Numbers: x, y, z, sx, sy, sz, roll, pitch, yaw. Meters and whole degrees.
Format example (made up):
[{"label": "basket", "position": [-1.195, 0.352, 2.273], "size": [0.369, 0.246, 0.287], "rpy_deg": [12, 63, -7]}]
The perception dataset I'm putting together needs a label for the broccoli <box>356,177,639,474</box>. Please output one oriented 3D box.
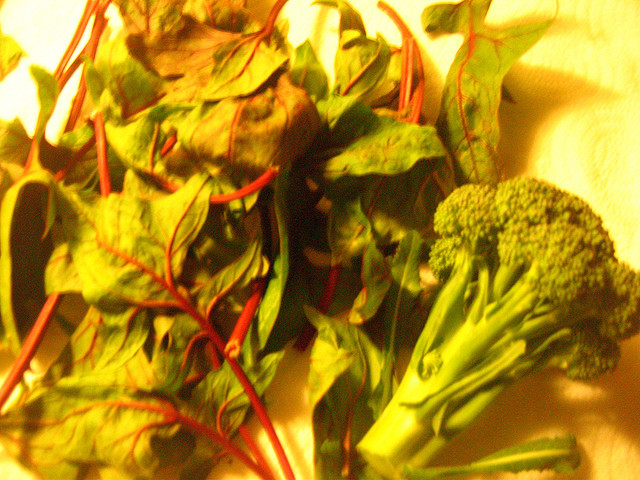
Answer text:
[{"label": "broccoli", "position": [0.227, 0.114, 1.080], "size": [0.320, 0.469, 0.275], "rpy_deg": [39, 13, -15]}]
